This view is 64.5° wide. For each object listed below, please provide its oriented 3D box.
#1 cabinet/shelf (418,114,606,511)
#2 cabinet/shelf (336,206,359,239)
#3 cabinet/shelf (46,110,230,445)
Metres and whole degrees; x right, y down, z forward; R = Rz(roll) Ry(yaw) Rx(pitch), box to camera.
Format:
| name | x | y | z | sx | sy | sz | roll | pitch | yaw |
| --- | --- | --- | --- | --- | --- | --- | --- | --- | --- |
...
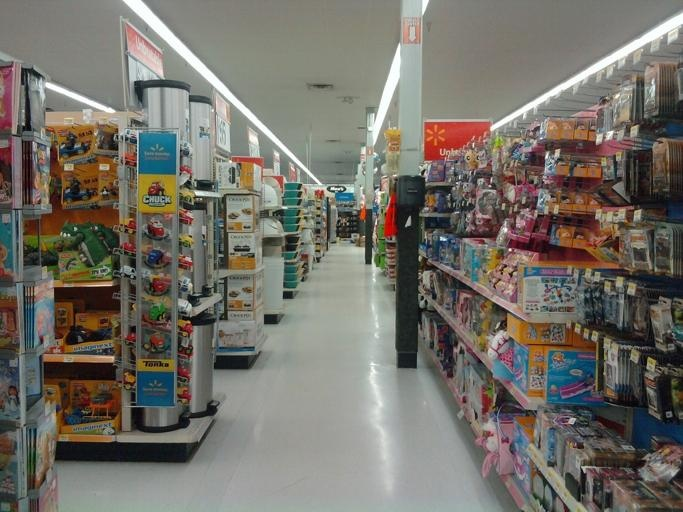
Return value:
| name | x | y | z | sx | sy | sz | roll | pitch | yaw |
| --- | --- | --- | --- | --- | --- | --- | --- | --- | --- |
| cabinet/shelf | 1.101 | 0.412 | 3.534 | 0.436 | 1.464 | 2.716 | 1 | 3 | 5 |
| cabinet/shelf | 0.338 | -1.778 | 28.867 | 1.606 | 1.731 | 0.538 | 1 | 0 | 21 |
| cabinet/shelf | -1.947 | 0.173 | 4.646 | 1.902 | 2.607 | 1.766 | 0 | 3 | -1 |
